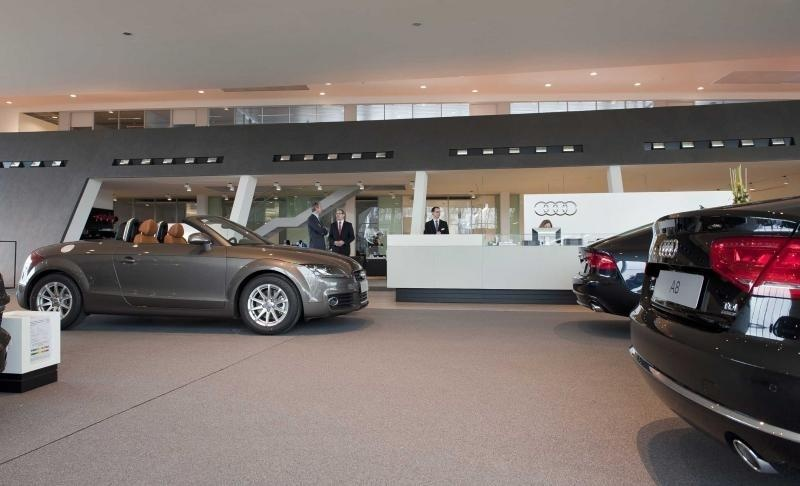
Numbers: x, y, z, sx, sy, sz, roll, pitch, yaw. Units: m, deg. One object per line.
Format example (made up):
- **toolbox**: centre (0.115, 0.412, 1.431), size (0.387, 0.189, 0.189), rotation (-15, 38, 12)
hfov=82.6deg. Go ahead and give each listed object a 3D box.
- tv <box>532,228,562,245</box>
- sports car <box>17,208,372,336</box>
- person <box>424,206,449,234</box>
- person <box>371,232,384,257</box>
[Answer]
- **tv**: centre (3.234, -0.121, 10.045), size (0.641, 0.330, 0.267), rotation (2, 7, 16)
- **sports car**: centre (-3.164, 0.545, 7.445), size (4.803, 1.368, 2.116), rotation (-1, -3, 2)
- **person**: centre (1.012, -0.634, 12.661), size (0.638, 0.730, 1.378), rotation (1, 6, 2)
- **person**: centre (-1.127, 0.025, 23.308), size (0.715, 1.250, 0.247), rotation (1, 7, 6)
